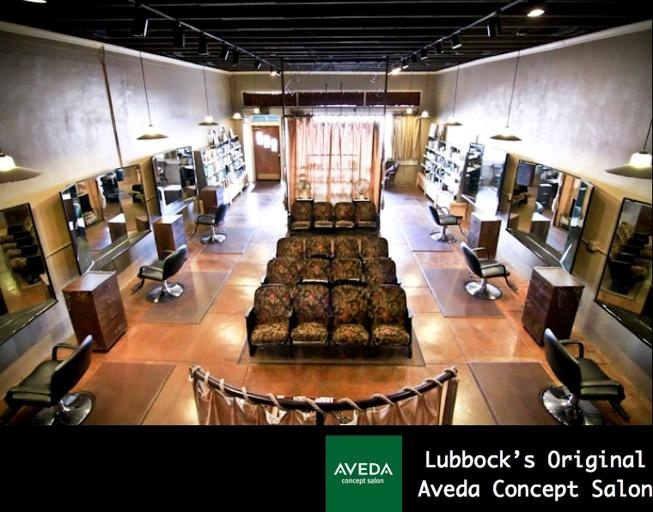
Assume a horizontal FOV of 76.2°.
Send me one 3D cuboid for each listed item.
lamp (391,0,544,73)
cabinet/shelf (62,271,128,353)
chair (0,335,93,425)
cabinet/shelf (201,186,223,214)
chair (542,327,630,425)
[{"bbox_3d":[2.175,-3.330,6.306,0.162,0.201,2.396,-33,11,-8],"label":"lamp"},{"bbox_3d":[-3.238,0.802,5.755,0.530,1.018,0.817,-1,23,-1],"label":"cabinet/shelf"},{"bbox_3d":[-3.197,1.430,4.698,0.723,0.810,0.664,18,22,-5],"label":"chair"},{"bbox_3d":[-2.978,-1.435,10.685,0.387,0.722,0.756,0,16,5],"label":"cabinet/shelf"},{"bbox_3d":[2.920,1.380,4.760,0.883,1.033,0.709,1,13,0],"label":"chair"}]
